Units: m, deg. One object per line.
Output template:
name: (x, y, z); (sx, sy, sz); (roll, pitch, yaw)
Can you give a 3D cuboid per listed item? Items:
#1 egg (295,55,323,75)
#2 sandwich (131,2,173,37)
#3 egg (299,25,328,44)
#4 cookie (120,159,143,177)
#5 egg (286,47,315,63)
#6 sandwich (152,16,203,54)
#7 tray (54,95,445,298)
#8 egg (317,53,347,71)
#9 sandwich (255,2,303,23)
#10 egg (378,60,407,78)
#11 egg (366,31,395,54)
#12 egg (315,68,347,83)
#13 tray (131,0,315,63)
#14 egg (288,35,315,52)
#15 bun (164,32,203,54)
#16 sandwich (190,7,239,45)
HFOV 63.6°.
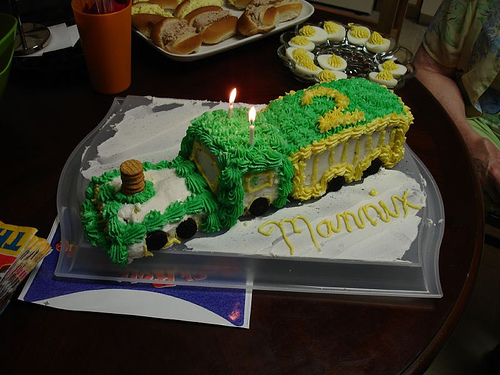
egg: (0.265, -0.557, 1.840); (0.077, 0.039, 0.114); (3, 40, 0)
sandwich: (-0.499, -0.859, 1.973); (0.176, 0.082, 0.235); (29, 29, -7)
egg: (0.317, -0.768, 2.018); (0.121, 0.050, 0.097); (13, 68, -3)
cookie: (-0.353, -0.056, 1.196); (0.061, 0.023, 0.058); (-21, 52, -18)
egg: (0.234, -0.624, 1.882); (0.123, 0.042, 0.073); (10, 49, 6)
sandwich: (-0.347, -0.713, 1.866); (0.199, 0.073, 0.184); (35, 55, 15)
tray: (-0.013, 0.069, 1.099); (0.954, 0.110, 0.659); (2, 52, -1)
egg: (0.386, -0.601, 1.894); (0.093, 0.039, 0.107); (12, 42, 9)
sandwich: (0.160, -0.868, 2.081); (0.243, 0.073, 0.124); (-8, 54, -21)
egg: (0.653, -0.555, 1.829); (0.098, 0.063, 0.090); (-23, 34, -38)
egg: (0.651, -0.704, 1.983); (0.103, 0.091, 0.138); (6, 38, 7)
egg: (0.364, -0.495, 1.756); (0.111, 0.039, 0.084); (9, 40, 18)
tray: (-0.023, -0.741, 1.988); (0.730, 0.083, 0.462); (-23, 56, -21)
egg: (0.257, -0.700, 1.955); (0.102, 0.037, 0.078); (12, 59, 1)
bun: (-0.296, -0.655, 1.845); (0.118, 0.047, 0.105); (-20, 41, -13)
sandwich: (-0.172, -0.798, 1.976); (0.207, 0.078, 0.211); (-23, 59, -21)
